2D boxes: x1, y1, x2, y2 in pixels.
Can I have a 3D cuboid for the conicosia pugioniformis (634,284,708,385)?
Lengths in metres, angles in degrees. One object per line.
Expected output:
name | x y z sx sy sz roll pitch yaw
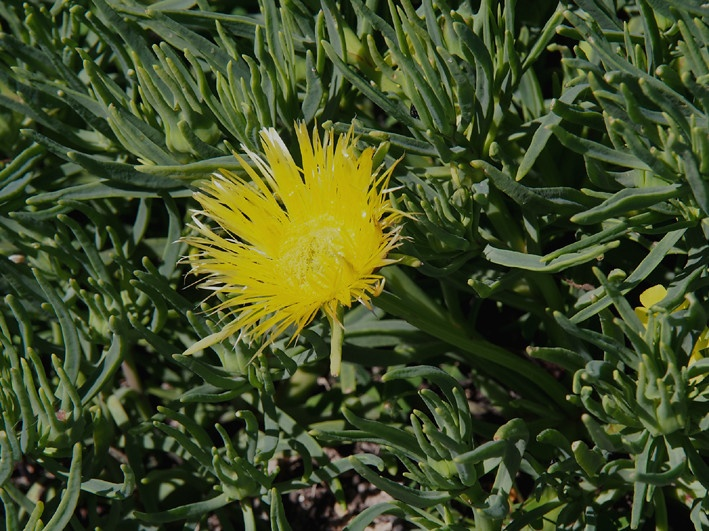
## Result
conicosia pugioniformis | 0.352 0.073 0.895 0.039 0.109 0.094 51 132 20

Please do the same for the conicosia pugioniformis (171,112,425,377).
conicosia pugioniformis | -0.053 -0.016 0.958 0.302 0.286 0.129 -32 56 19
